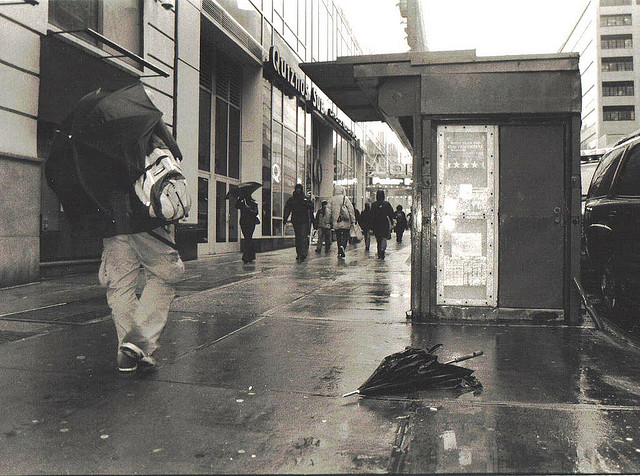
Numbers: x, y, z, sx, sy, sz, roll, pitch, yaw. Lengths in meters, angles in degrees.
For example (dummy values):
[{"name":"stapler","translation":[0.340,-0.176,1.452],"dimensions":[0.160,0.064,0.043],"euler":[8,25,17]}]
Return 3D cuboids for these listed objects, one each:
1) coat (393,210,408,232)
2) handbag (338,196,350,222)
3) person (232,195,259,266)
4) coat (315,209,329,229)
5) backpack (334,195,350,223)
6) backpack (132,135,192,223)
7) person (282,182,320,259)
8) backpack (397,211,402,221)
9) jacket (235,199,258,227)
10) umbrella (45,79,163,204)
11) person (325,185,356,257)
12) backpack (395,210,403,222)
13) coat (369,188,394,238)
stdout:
[{"name":"coat","translation":[3.686,-0.796,25.949],"dimensions":[0.331,1.255,0.804],"euler":[-1,11,-29]},{"name":"handbag","translation":[0.722,-0.850,16.619],"dimensions":[0.341,1.130,0.474],"euler":[0,-8,4]},{"name":"person","translation":[-1.781,-0.180,14.060],"dimensions":[0.531,1.670,0.784],"euler":[-1,7,-9]},{"name":"coat","translation":[0.064,-0.659,17.933],"dimensions":[0.436,0.904,0.629],"euler":[-4,11,1]},{"name":"backpack","translation":[0.632,-0.740,16.858],"dimensions":[0.580,1.067,0.290],"euler":[-1,-2,1]},{"name":"backpack","translation":[-1.456,-0.458,5.179],"dimensions":[0.317,0.731,0.491],"euler":[-17,8,43]},{"name":"person","translation":[-0.499,-0.506,15.423],"dimensions":[0.906,2.250,0.893],"euler":[-4,-1,10]},{"name":"backpack","translation":[3.554,-1.035,25.629],"dimensions":[0.263,0.584,0.307],"euler":[1,0,8]},{"name":"jacket","translation":[-1.806,-0.652,14.320],"dimensions":[0.685,0.802,0.420],"euler":[2,-9,0]},{"name":"umbrella","translation":[-2.007,-0.788,5.127],"dimensions":[1.038,1.130,0.432],"euler":[-35,-21,25]},{"name":"person","translation":[0.623,-0.521,17.339],"dimensions":[0.816,2.225,0.795],"euler":[0,11,20]},{"name":"backpack","translation":[3.554,-0.985,25.567],"dimensions":[0.369,0.813,0.433],"euler":[3,-2,5]},{"name":"coat","translation":[1.838,-0.472,17.090],"dimensions":[0.752,2.028,0.658],"euler":[3,4,19]}]
